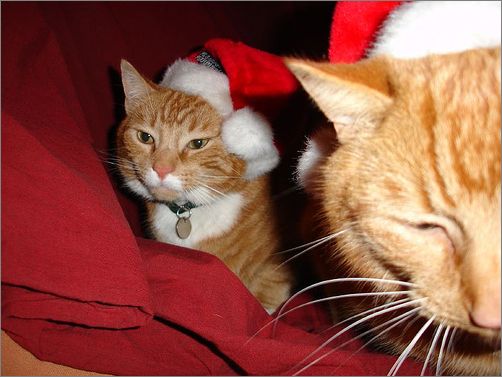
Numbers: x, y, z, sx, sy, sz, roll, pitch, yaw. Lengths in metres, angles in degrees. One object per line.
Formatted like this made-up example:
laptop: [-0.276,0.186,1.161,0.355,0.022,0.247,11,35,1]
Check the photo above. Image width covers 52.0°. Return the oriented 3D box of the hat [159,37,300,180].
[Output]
hat: [-0.054,-0.281,1.559,0.231,0.407,0.400,-36,50,-25]
